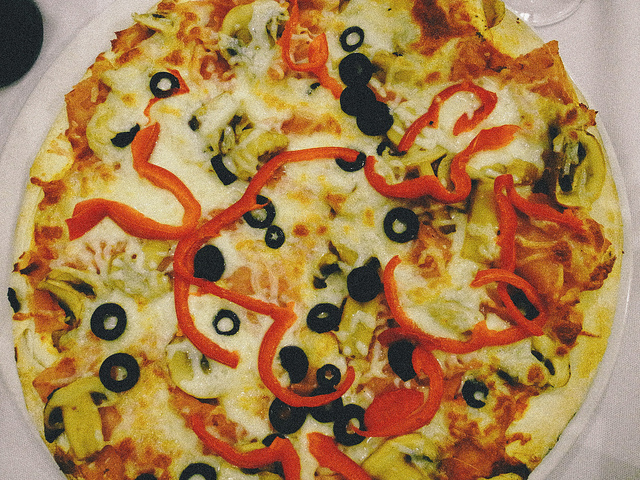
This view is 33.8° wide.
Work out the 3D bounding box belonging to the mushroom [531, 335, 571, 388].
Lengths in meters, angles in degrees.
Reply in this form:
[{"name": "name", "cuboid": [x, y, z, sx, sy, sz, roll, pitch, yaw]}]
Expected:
[{"name": "mushroom", "cuboid": [1.151, 0.595, 5.296, 0.146, 0.078, 0.286, -33, 90, 10]}]
